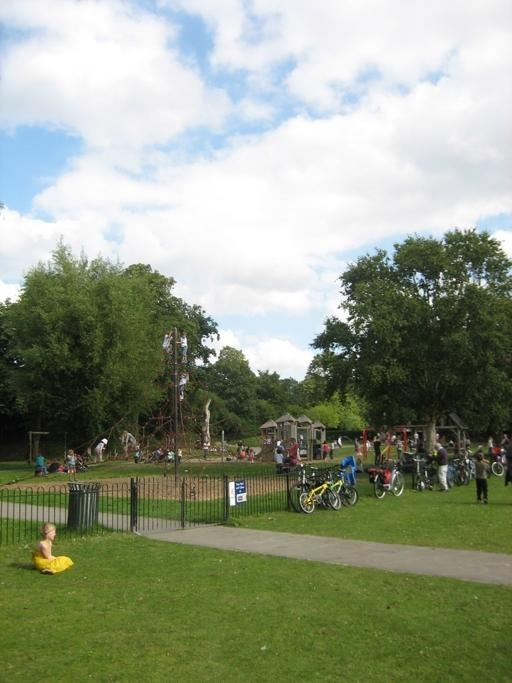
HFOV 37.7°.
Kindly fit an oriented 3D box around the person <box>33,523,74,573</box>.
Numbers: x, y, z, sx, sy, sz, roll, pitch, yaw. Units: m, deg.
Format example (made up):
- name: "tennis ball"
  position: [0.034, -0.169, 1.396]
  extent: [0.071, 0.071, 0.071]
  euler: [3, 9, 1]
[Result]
- name: "person"
  position: [-3.384, 3.438, 12.528]
  extent: [0.688, 0.772, 0.830]
  euler: [3, -9, -7]
